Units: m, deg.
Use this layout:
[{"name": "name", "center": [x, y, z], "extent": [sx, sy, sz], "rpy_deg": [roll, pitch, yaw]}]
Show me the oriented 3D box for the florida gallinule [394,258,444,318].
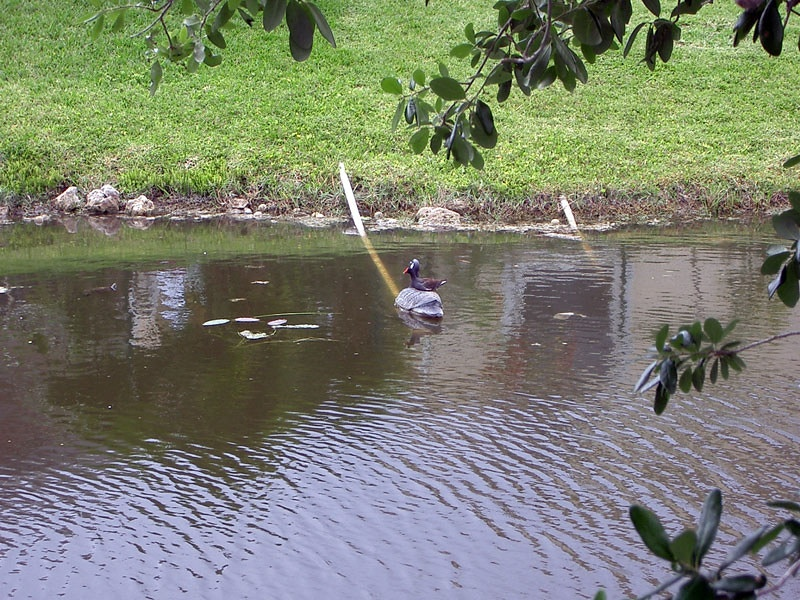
[{"name": "florida gallinule", "center": [0.260, -0.092, 12.567], "extent": [0.620, 0.588, 0.824], "rpy_deg": [2, 7, -30]}]
